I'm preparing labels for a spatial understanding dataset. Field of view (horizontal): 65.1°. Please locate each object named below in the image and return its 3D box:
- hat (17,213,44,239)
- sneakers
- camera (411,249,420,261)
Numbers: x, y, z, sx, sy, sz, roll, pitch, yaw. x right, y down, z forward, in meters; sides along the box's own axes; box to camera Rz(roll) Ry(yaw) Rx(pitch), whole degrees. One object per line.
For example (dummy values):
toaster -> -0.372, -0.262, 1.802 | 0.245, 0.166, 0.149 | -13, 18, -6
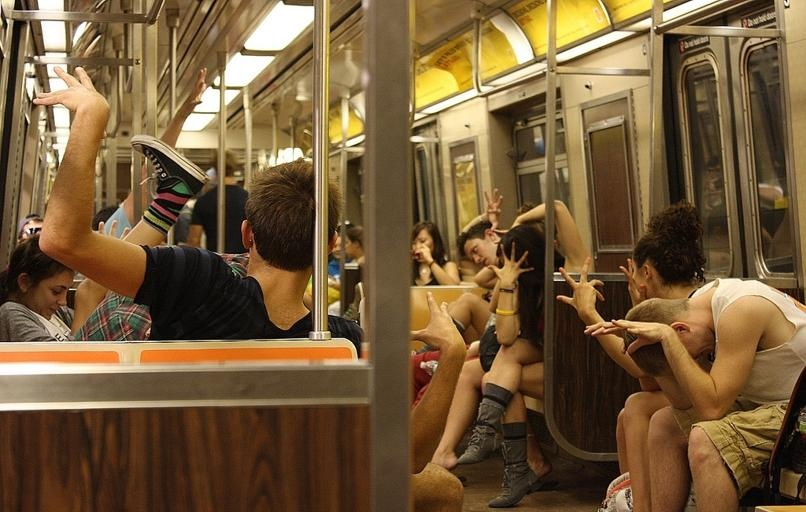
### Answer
hat -> -3.000, -0.241, 5.063 | 0.196, 0.264, 0.101 | -2, 11, -32
sneakers -> -0.995, -0.458, 2.799 | 0.138, 0.156, 0.393 | -1, -19, 27
camera -> 0.137, -0.021, 6.872 | 0.123, 0.128, 0.043 | -2, 11, 12
